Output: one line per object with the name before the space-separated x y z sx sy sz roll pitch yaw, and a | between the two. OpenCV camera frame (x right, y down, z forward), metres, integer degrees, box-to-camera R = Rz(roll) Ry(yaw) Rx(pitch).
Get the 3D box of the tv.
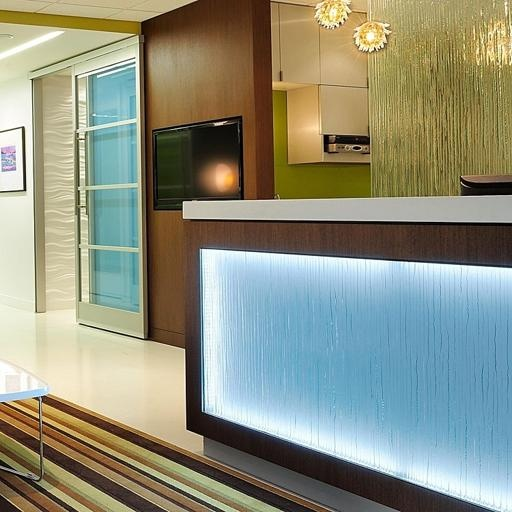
tv | -0.550 -0.826 4.704 0.989 0.736 0.036 1 4 31
